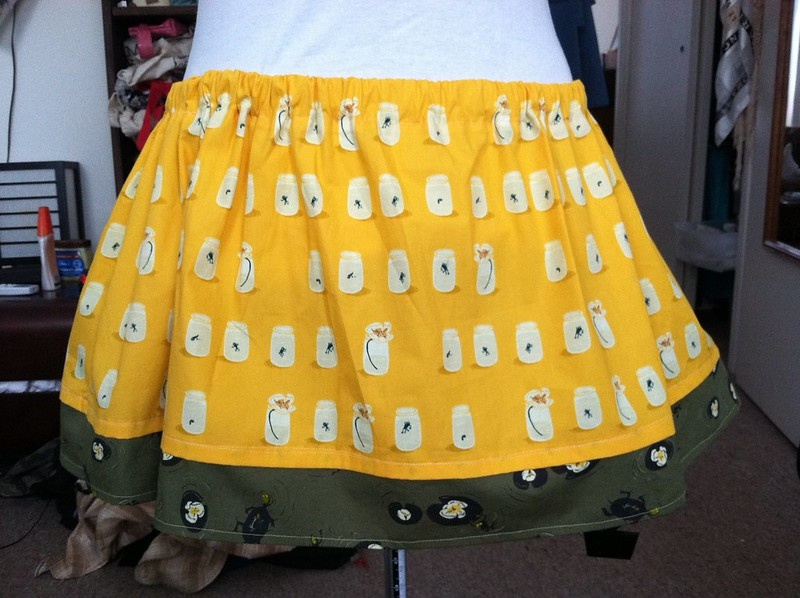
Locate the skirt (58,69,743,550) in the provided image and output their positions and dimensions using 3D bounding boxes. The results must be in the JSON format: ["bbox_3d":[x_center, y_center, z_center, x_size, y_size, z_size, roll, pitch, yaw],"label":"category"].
[{"bbox_3d":[-0.004,-0.026,1.152,0.955,0.704,0.602,0,6,-1],"label":"skirt"}]
